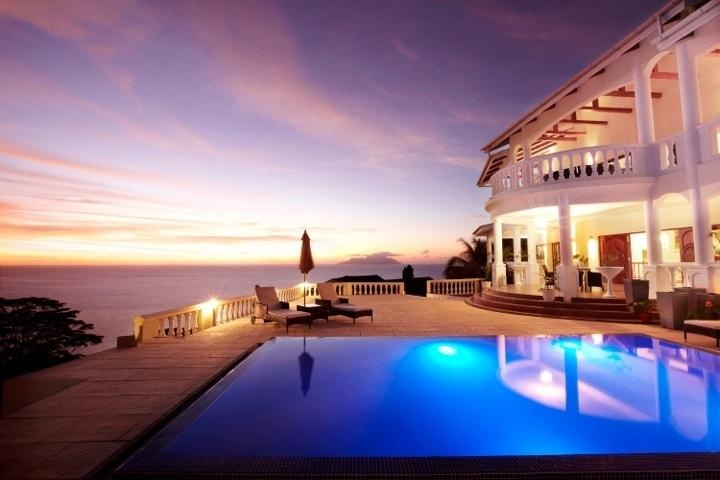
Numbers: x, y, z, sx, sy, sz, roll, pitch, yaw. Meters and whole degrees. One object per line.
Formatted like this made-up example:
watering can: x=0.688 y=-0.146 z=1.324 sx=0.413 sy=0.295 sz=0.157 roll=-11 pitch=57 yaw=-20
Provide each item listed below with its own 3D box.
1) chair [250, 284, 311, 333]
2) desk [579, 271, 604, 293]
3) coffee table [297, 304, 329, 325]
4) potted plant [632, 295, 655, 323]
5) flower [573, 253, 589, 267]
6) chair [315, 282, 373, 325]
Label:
chair: x=-3.139 y=2.618 z=16.479 sx=2.255 sy=1.288 sz=1.215 roll=3 pitch=3 yaw=42
desk: x=10.658 y=1.888 z=19.500 sx=1.063 sy=1.171 sz=0.942 roll=-2 pitch=0 yaw=3
coffee table: x=-1.817 y=2.832 z=16.599 sx=0.699 sy=0.572 sz=0.989 roll=2 pitch=-6 yaw=-20
potted plant: x=10.507 y=2.635 z=15.632 sx=0.787 sy=0.775 sz=0.779 roll=0 pitch=-2 yaw=29
flower: x=10.688 y=0.991 z=20.430 sx=0.759 sy=0.816 sz=0.759 roll=2 pitch=-1 yaw=-2
chair: x=-0.689 y=2.571 z=17.523 sx=2.180 sy=1.321 sz=1.271 roll=2 pitch=-1 yaw=35
